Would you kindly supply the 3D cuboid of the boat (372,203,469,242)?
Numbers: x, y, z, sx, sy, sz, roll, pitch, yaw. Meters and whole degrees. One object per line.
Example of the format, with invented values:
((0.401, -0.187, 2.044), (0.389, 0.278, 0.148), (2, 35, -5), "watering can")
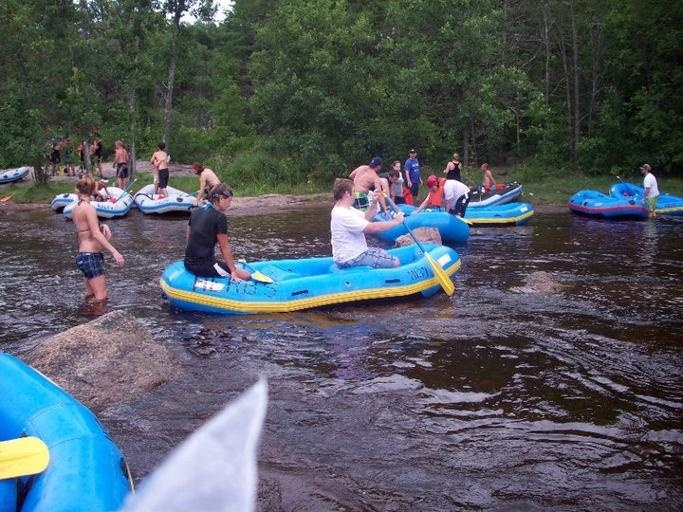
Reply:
((1.967, -0.739, 15.079), (1.712, 0.692, 2.273), (1, -10, 44), "boat")

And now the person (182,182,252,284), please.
((-1.812, -0.319, 9.116), (0.810, 1.351, 0.501), (3, 13, 34), "person")

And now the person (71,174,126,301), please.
((-3.549, -0.235, 9.304), (0.502, 1.806, 0.916), (-11, 13, -32), "person")

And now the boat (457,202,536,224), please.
((4.302, -1.109, 17.713), (1.708, 0.365, 0.853), (-4, 5, -2), "boat")

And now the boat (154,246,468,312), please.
((-0.395, 0.426, 9.442), (3.264, 0.477, 1.646), (-4, 6, -12), "boat")

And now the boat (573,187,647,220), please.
((7.782, -1.448, 18.867), (1.150, 0.694, 2.266), (-5, 9, -10), "boat")

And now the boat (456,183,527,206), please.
((4.882, -1.877, 20.537), (1.650, 0.425, 0.899), (-8, 14, 27), "boat")
